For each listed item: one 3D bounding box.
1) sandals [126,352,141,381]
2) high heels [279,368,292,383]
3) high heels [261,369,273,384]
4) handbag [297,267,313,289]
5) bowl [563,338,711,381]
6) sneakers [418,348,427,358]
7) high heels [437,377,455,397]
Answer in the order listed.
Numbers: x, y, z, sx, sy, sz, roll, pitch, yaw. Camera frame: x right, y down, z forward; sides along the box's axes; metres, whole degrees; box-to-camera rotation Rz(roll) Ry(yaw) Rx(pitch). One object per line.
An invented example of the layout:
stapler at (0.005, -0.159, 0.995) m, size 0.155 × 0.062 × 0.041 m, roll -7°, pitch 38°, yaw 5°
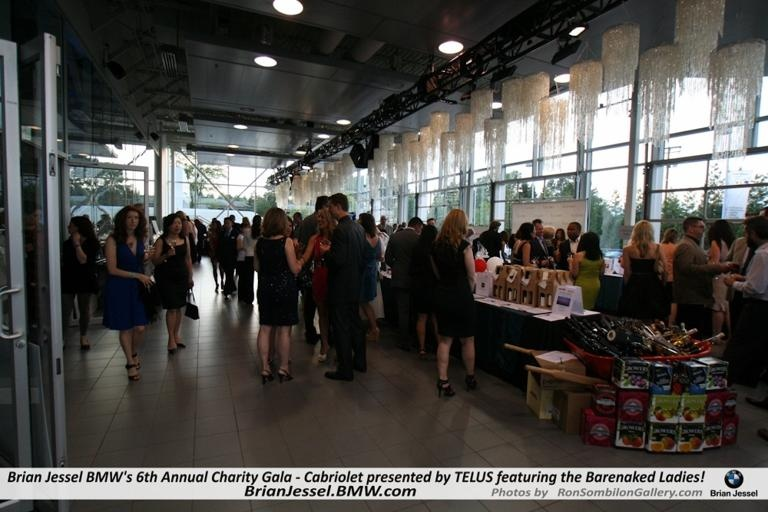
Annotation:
sandals at (-2.860, 1.259, 5.588) m, size 0.123 × 0.154 × 0.392 m, roll 2°, pitch 12°, yaw -28°
high heels at (-1.115, 1.354, 5.494) m, size 0.095 × 0.128 × 0.182 m, roll 2°, pitch 4°, yaw 26°
high heels at (-1.297, 1.357, 5.496) m, size 0.092 × 0.124 × 0.174 m, roll 3°, pitch 2°, yaw 4°
handbag at (-0.934, 0.283, 5.904) m, size 0.166 × 0.213 × 0.210 m, roll -2°, pitch 6°, yaw -3°
bowl at (2.395, 0.992, 4.634) m, size 0.853 × 0.172 × 0.593 m, roll 0°, pitch -5°, yaw -1°
sneakers at (0.460, 1.240, 6.184) m, size 0.101 × 0.157 × 0.096 m, roll 4°, pitch -8°, yaw -37°
high heels at (0.641, 1.413, 5.217) m, size 0.211 × 0.202 × 0.133 m, roll -7°, pitch 3°, yaw -15°
